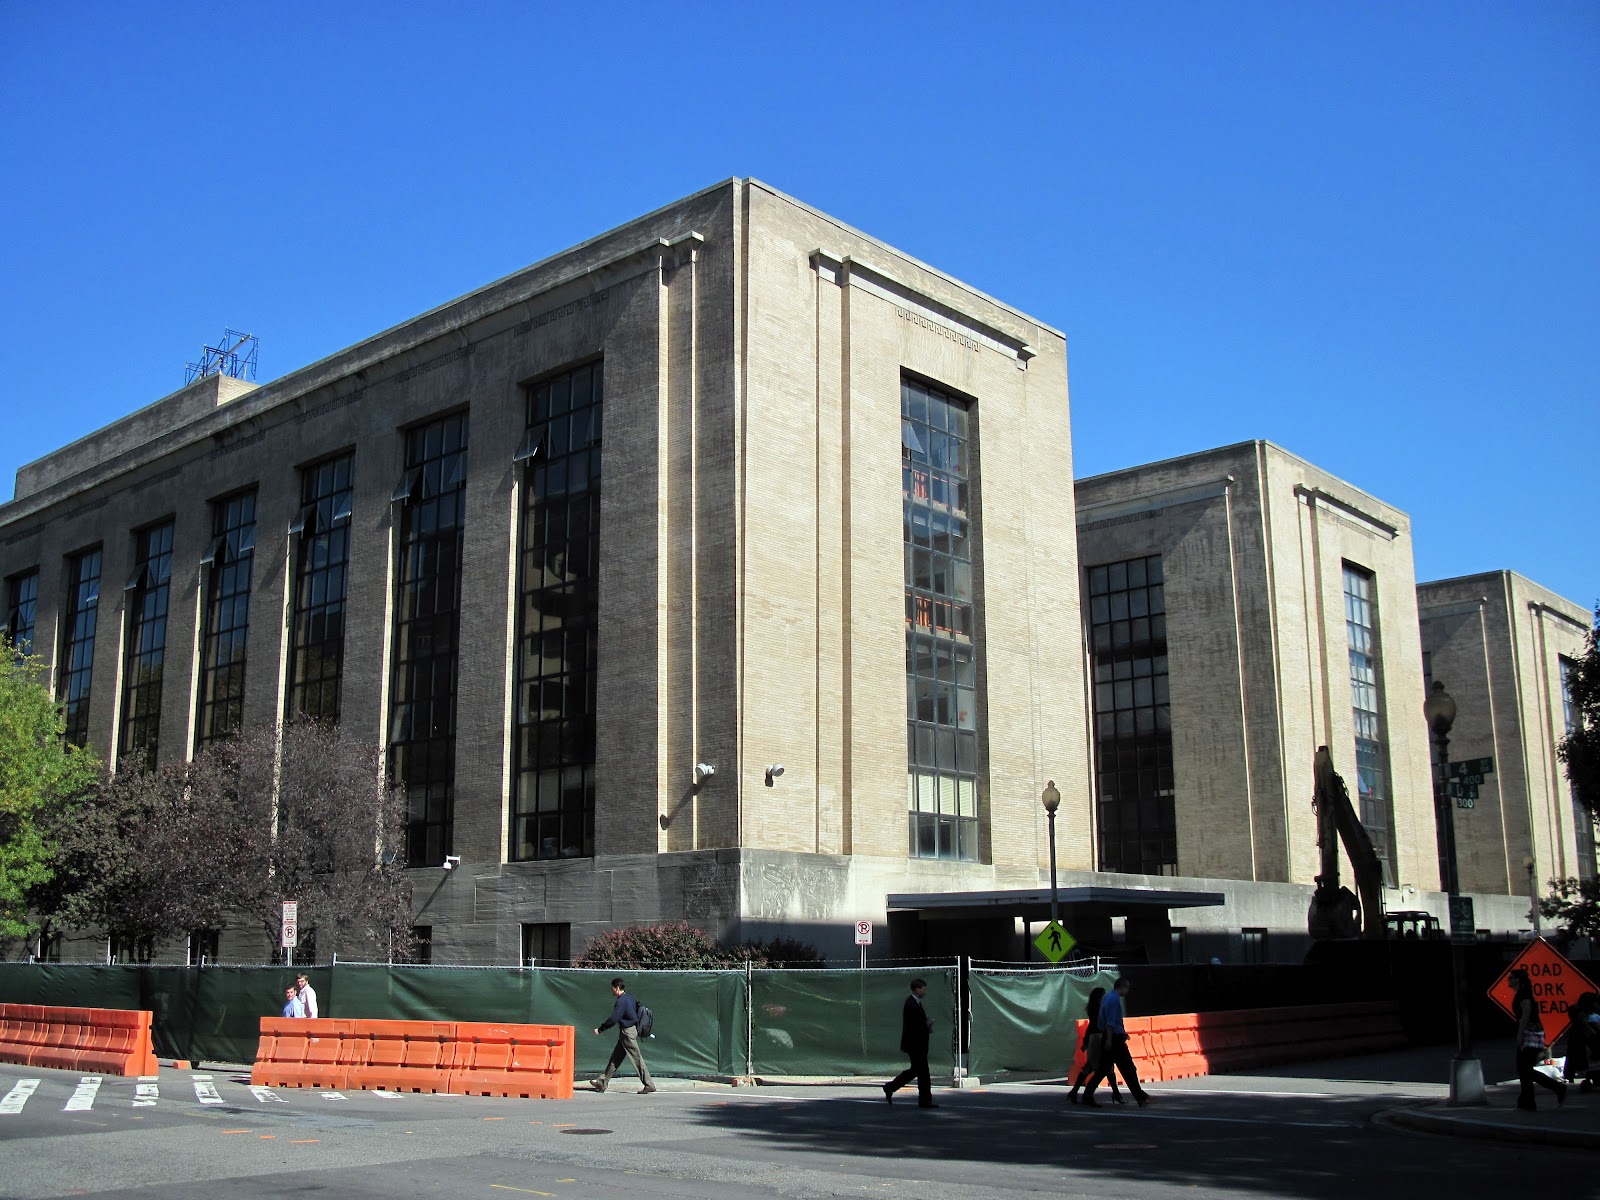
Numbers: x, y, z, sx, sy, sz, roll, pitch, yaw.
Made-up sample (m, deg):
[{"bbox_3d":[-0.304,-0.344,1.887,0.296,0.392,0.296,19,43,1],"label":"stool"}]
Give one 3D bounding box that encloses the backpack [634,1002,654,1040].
[{"bbox_3d":[-3.079,8.171,29.644,0.276,0.511,0.459,4,-18,-14],"label":"backpack"}]
